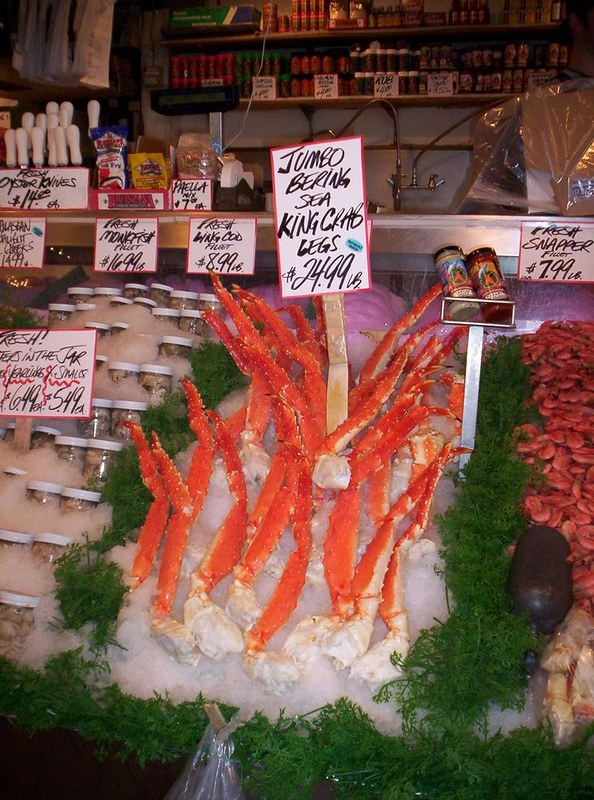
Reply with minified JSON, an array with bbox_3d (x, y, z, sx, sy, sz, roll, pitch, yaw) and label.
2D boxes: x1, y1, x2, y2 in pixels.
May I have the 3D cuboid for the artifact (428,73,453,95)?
[{"bbox_3d":[1.073,-2.372,4.634,0.192,0.173,0.069,7,18,4],"label":"artifact"}]

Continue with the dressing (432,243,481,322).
[{"bbox_3d":[0.310,-0.230,1.200,0.063,0.140,0.061,-9,-12,4],"label":"dressing"}]

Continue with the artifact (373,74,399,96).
[{"bbox_3d":[0.687,-2.411,4.700,0.184,0.163,0.100,0,14,6],"label":"artifact"}]
